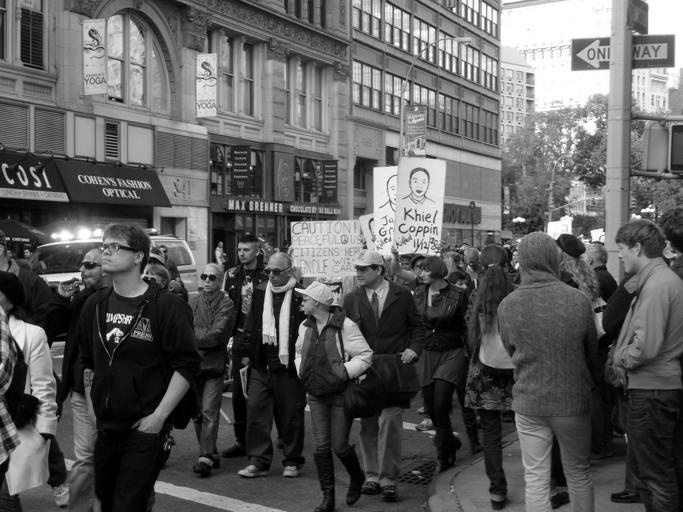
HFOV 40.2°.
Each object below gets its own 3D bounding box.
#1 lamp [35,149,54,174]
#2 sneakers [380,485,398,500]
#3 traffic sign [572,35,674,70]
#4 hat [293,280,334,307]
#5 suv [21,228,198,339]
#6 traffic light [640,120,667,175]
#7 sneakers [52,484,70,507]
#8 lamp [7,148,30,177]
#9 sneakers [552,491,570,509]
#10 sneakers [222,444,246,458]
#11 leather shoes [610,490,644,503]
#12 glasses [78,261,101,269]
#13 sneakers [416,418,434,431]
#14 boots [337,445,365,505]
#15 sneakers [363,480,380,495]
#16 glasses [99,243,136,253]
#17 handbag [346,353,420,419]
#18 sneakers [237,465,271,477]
[{"bbox_3d":[-8.642,-2.734,26.664,0.496,0.571,0.506,7,-18,6],"label":"lamp"},{"bbox_3d":[0.506,2.454,9.802,0.184,0.153,0.256,-1,5,2],"label":"sneakers"},{"bbox_3d":[3.893,-2.838,12.965,1.370,0.493,0.527,0,5,14],"label":"traffic sign"},{"bbox_3d":[-0.272,0.386,9.741,0.311,0.174,0.212,9,1,17],"label":"hat"},{"bbox_3d":[-5.342,0.462,21.898,3.363,1.736,1.980,1,-2,-9],"label":"suv"},{"bbox_3d":[4.237,-1.468,12.608,0.342,0.704,0.325,0,4,15],"label":"traffic light"},{"bbox_3d":[-2.781,2.337,9.163,0.227,0.234,0.096,2,6,40],"label":"sneakers"},{"bbox_3d":[-8.915,-2.555,25.610,0.379,0.648,0.960,-2,5,-8],"label":"lamp"},{"bbox_3d":[2.145,2.371,9.176,0.236,0.145,0.092,-6,6,-42],"label":"sneakers"},{"bbox_3d":[-1.290,2.350,11.307,0.360,0.159,0.131,6,-6,-35],"label":"sneakers"},{"bbox_3d":[2.781,2.347,9.100,0.297,0.134,0.114,4,-4,5],"label":"leather shoes"},{"bbox_3d":[-2.469,0.085,9.232,0.342,0.085,0.118,3,6,43],"label":"glasses"},{"bbox_3d":[1.149,2.291,12.758,0.139,0.169,0.367,-6,-13,25],"label":"sneakers"},{"bbox_3d":[0.098,2.222,9.710,0.261,0.618,0.451,-1,4,3],"label":"boots"},{"bbox_3d":[0.311,2.453,9.928,0.180,0.130,0.127,-1,4,11],"label":"sneakers"},{"bbox_3d":[-1.798,-0.070,7.369,0.305,0.071,0.123,0,5,21],"label":"glasses"},{"bbox_3d":[0.391,1.321,9.662,0.669,0.464,0.274,-2,-5,-39],"label":"handbag"},{"bbox_3d":[-0.989,2.400,10.502,0.357,0.155,0.131,8,-10,-26],"label":"sneakers"}]
